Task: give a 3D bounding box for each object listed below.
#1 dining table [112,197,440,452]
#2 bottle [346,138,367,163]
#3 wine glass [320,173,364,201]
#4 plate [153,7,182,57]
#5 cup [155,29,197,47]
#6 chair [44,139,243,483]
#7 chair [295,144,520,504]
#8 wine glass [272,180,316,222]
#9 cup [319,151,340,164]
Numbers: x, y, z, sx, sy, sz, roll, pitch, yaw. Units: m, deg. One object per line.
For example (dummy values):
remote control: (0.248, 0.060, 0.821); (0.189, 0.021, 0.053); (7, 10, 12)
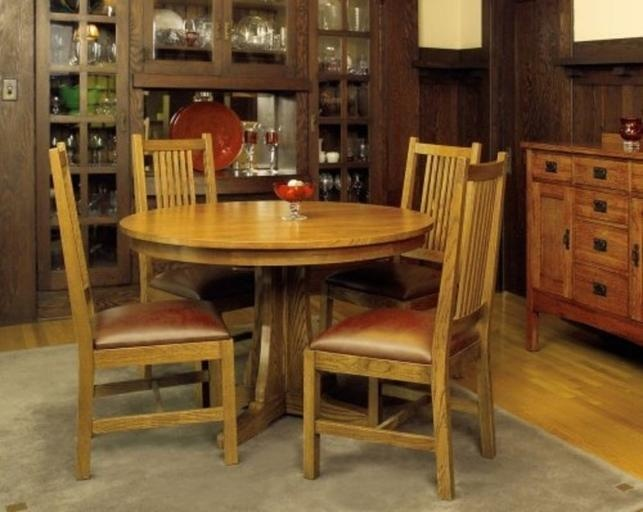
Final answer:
dining table: (-0.186, 0.246, 2.530); (1.160, 0.883, 1.225); (4, 12, 18)
bottle: (0.271, -0.778, 4.346); (0.154, 0.189, 0.161); (1, 3, 22)
wine glass: (0.149, -0.428, 4.384); (0.322, 0.339, 0.180); (0, 0, -12)
plate: (-0.957, -1.431, 3.705); (0.248, 0.266, 0.061); (-11, 22, -29)
cup: (-0.942, -1.415, 3.810); (0.186, 0.068, 0.138); (5, 9, 17)
chair: (-0.621, 0.203, 2.104); (0.651, 1.003, 0.605); (-4, 6, -39)
chair: (0.298, 0.202, 2.031); (0.717, 1.063, 0.710); (-3, 6, -31)
wine glass: (-0.113, -0.204, 2.293); (0.175, 0.170, 0.170); (0, -1, -5)
cup: (0.064, -0.723, 4.268); (0.100, 0.073, 0.101); (-1, 8, 0)
